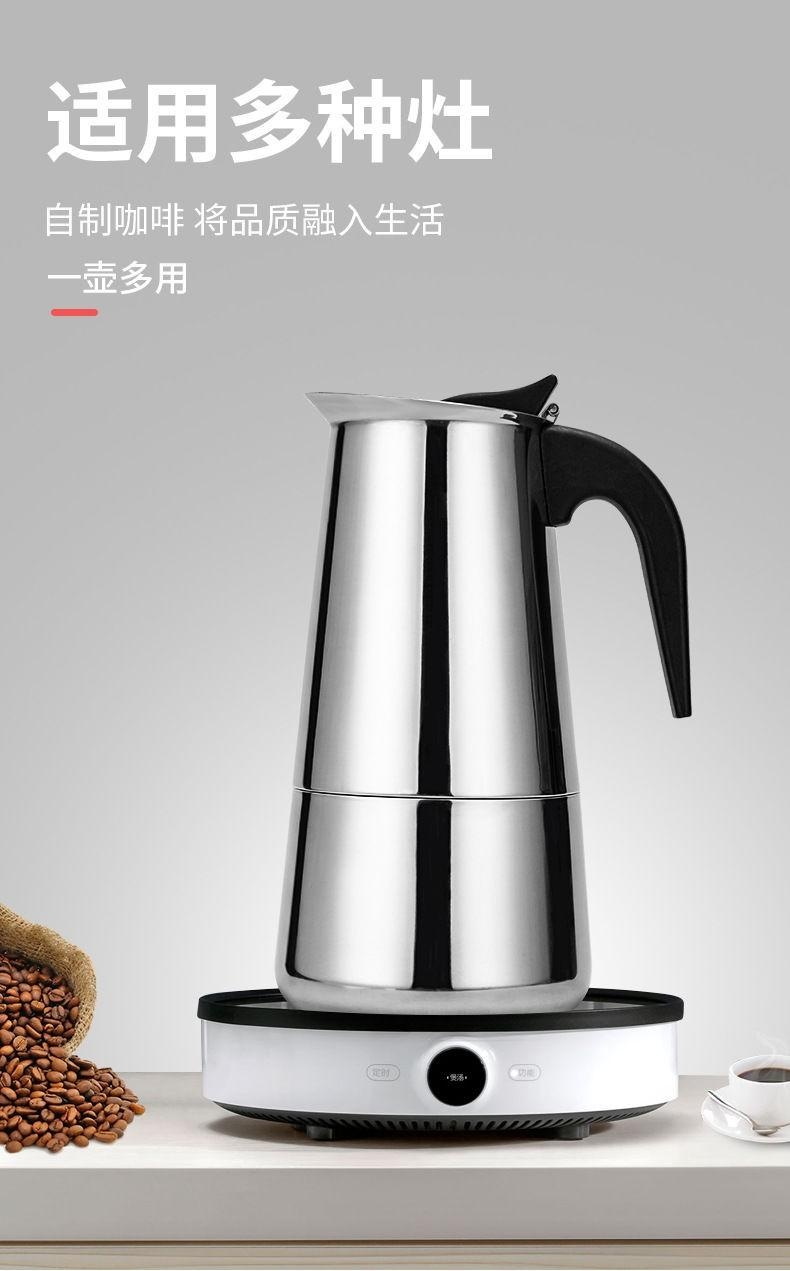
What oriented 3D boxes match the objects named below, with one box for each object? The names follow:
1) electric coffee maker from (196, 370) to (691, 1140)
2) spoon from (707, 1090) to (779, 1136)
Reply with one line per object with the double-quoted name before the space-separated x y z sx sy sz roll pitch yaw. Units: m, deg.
"electric coffee maker" 0.022 0.064 0.646 0.247 0.377 0.253 -2 -2 40
"spoon" 0.176 0.246 0.609 0.012 0.009 0.053 -11 11 -13
